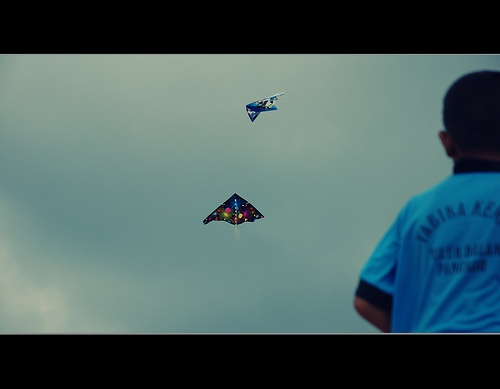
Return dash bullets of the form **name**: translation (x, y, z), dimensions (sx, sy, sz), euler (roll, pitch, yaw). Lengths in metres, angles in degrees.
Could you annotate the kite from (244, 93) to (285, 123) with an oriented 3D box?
- **kite**: translation (0.088, -0.628, 6.040), dimensions (0.242, 0.080, 0.172), euler (-32, -81, -13)
